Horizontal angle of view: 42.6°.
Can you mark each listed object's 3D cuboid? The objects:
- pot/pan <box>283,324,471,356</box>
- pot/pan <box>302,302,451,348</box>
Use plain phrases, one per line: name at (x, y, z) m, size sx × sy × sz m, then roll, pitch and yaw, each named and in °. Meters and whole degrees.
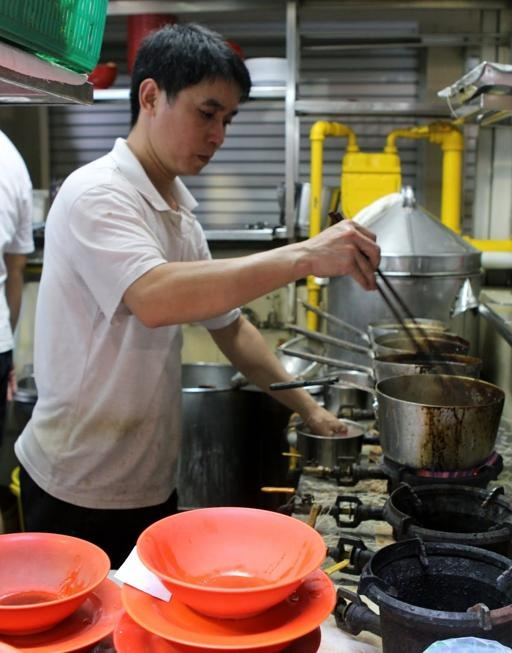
pot/pan at (0.359, 0.042, 1.705) m, size 0.307 × 0.064 × 0.178 m, roll 5°, pitch 1°, yaw -4°
pot/pan at (0.348, 0.007, 1.814) m, size 0.312 × 0.149 × 0.185 m, roll 3°, pitch 7°, yaw 7°
